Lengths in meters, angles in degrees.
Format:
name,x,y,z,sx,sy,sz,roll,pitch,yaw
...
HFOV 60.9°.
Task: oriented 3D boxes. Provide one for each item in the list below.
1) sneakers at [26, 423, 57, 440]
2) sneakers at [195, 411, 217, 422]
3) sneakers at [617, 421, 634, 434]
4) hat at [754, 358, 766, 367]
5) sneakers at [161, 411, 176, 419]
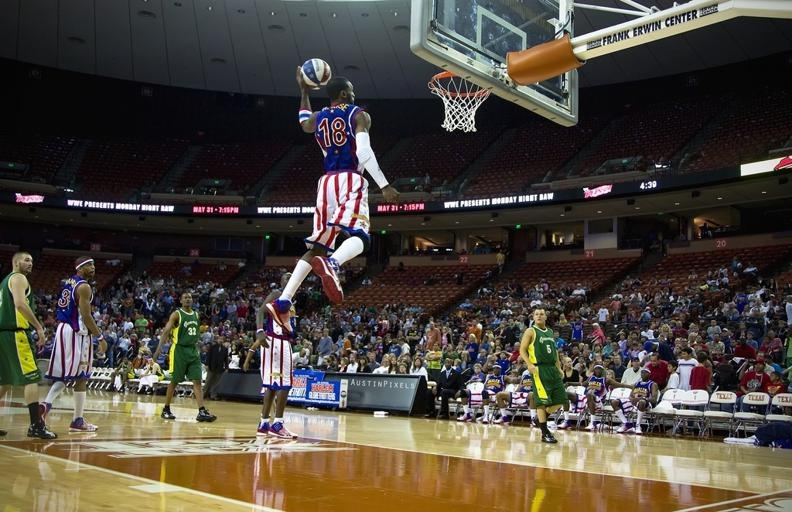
name,x,y,z,sx,sy,sz,roll,pitch,yaw
sneakers,-5.375,2.691,10.379,0.544,0.242,0.194,4,-7,-3
sneakers,-3.736,3.143,13.150,0.416,0.213,0.152,1,-14,11
sneakers,5.103,3.845,15.044,0.546,0.234,0.185,14,-18,-37
hat,8.151,2.386,15.108,0.192,0.211,0.153,-3,-13,26
sneakers,-4.556,3.184,13.513,0.388,0.171,0.133,-9,-11,41
